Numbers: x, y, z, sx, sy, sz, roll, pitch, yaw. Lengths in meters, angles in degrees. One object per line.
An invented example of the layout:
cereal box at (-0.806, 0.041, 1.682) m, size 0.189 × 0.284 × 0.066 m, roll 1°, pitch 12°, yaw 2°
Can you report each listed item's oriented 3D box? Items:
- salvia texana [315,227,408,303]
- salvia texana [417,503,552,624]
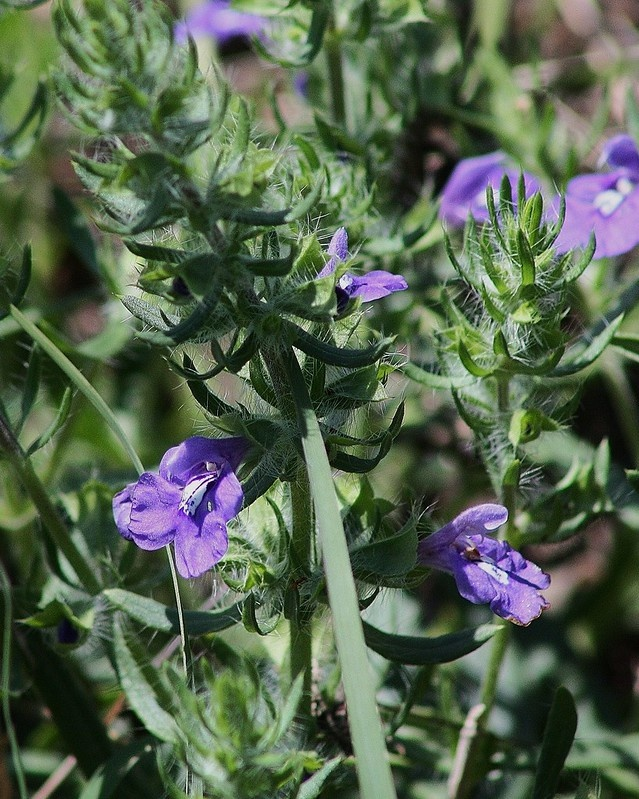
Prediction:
salvia texana at (0.030, -0.105, 0.731) m, size 0.024 × 0.066 × 0.066 m, roll -18°, pitch 30°, yaw -37°
salvia texana at (0.128, 0.127, 0.738) m, size 0.118 × 0.060 × 0.065 m, roll 11°, pitch 38°, yaw 24°
